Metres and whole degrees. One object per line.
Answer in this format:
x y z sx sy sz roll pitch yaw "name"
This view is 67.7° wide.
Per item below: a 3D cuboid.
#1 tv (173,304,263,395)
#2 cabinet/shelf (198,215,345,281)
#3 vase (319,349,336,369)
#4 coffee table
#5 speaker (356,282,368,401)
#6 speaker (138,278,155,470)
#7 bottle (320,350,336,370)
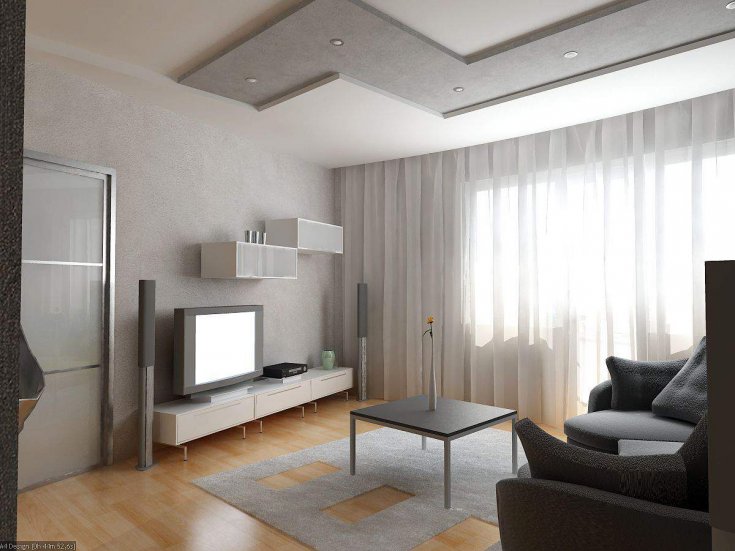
-1.368 0.663 5.231 0.149 0.753 1.080 0 -1 27 "tv"
-0.930 -0.294 6.005 0.418 0.700 2.042 -2 -3 27 "cabinet/shelf"
-0.449 0.984 6.510 0.199 0.237 0.189 -2 -1 -20 "vase"
0.513 1.260 4.224 1.016 0.431 1.038 0 -1 38 "coffee table"
-0.053 0.782 6.641 0.141 1.414 0.307 -1 3 -1 "speaker"
-1.789 0.774 4.430 0.161 1.497 0.278 -2 3 -21 "speaker"
-0.452 0.984 6.445 0.148 0.213 0.187 -1 3 -8 "bottle"
